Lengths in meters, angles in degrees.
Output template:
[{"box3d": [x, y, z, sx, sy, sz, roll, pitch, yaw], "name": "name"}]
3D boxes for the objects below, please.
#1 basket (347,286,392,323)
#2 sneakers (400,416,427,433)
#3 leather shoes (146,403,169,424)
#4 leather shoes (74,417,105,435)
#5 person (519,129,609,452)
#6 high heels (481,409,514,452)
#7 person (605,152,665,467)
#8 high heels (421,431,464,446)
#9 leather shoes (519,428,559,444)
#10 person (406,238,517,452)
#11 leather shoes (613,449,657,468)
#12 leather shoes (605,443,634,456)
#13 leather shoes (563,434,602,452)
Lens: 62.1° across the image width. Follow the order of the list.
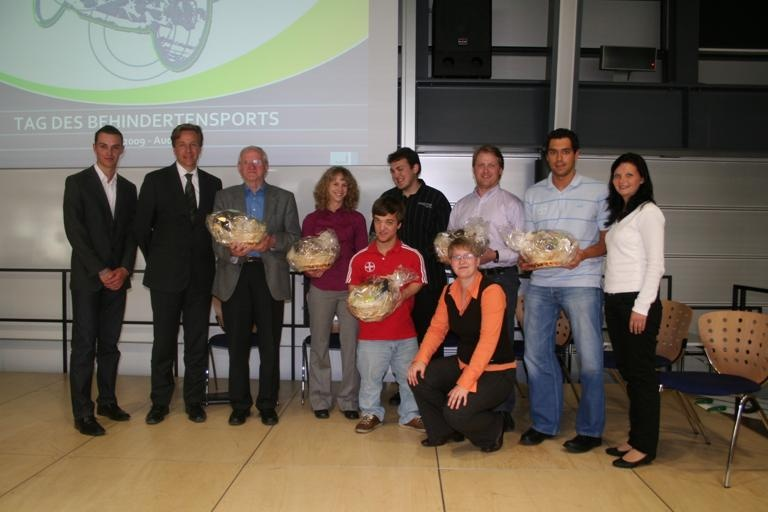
[{"box3d": [-0.127, 0.407, 6.095, 0.379, 0.333, 0.297, -13, 22, 6], "name": "basket"}, {"box3d": [0.295, 1.646, 6.245, 0.315, 0.130, 0.115, -2, -6, 25], "name": "sneakers"}, {"box3d": [-2.305, 1.570, 6.415, 0.174, 0.162, 0.227, 0, 8, 7], "name": "leather shoes"}, {"box3d": [-2.848, 1.632, 6.179, 0.360, 0.148, 0.131, 7, 1, 23], "name": "leather shoes"}, {"box3d": [1.695, 0.301, 6.014, 0.767, 2.957, 0.692, 1, 9, 16], "name": "person"}, {"box3d": [1.144, 1.651, 6.122, 0.193, 0.231, 0.573, -17, -2, 37], "name": "high heels"}, {"box3d": [2.240, 0.471, 5.745, 0.486, 2.764, 0.638, 1, 9, 17], "name": "person"}, {"box3d": [0.556, 1.731, 5.993, 0.435, 0.166, 0.143, 5, -5, -11], "name": "high heels"}, {"box3d": [1.482, 1.726, 6.124, 0.356, 0.145, 0.130, 5, -10, -13], "name": "leather shoes"}, {"box3d": [0.709, 0.962, 5.822, 0.929, 1.709, 0.491, 0, 9, 11], "name": "person"}, {"box3d": [2.278, 1.833, 5.778, 0.392, 0.157, 0.142, 3, -4, -1], "name": "leather shoes"}, {"box3d": [2.154, 1.765, 5.838, 0.241, 0.062, 0.086, -3, -1, -4], "name": "leather shoes"}, {"box3d": [1.839, 1.745, 5.925, 0.378, 0.142, 0.137, 2, -7, -18], "name": "leather shoes"}]
